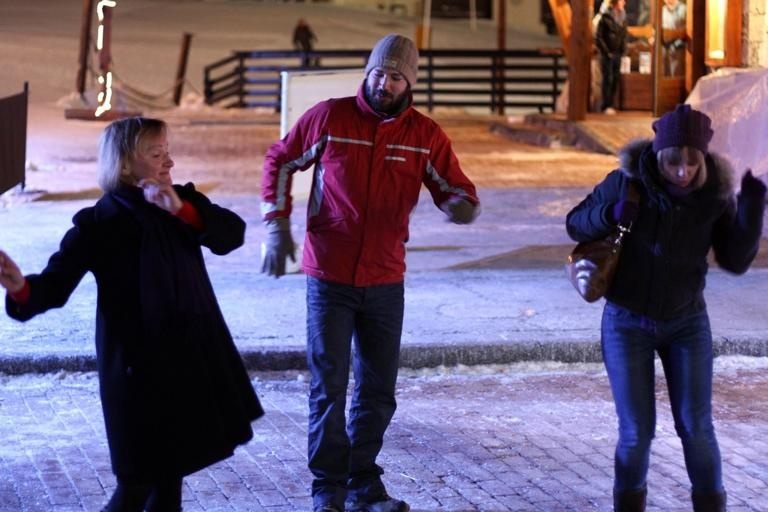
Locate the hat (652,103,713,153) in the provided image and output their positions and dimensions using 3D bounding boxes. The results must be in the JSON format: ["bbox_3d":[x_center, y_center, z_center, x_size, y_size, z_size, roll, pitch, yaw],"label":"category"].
[{"bbox_3d":[2.059,-0.870,7.369,0.329,0.253,0.384,1,1,2],"label":"hat"}]

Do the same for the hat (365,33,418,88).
[{"bbox_3d":[0.063,-1.421,7.898,0.344,0.331,0.391,14,2,-2],"label":"hat"}]
